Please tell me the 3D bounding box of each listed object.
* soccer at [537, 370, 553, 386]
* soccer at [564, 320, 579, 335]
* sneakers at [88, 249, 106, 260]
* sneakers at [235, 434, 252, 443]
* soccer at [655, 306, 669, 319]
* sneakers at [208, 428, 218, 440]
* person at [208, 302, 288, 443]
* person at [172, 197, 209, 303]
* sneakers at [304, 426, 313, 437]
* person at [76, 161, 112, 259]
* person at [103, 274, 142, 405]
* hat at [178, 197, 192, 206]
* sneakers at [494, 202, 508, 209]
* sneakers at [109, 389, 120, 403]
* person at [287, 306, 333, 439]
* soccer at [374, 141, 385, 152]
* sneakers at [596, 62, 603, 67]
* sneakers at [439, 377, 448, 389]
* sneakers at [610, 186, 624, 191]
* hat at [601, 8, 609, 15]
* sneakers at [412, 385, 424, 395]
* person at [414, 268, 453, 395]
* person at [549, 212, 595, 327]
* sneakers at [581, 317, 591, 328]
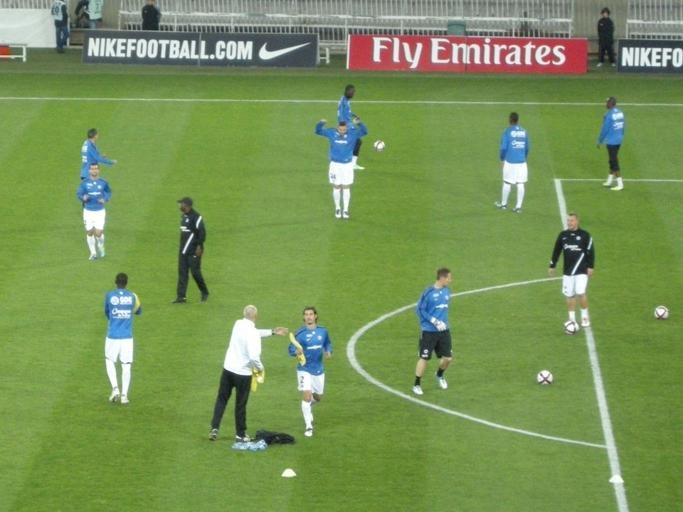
[{"bbox_3d":[4.544,2.638,27.864,0.402,0.285,0.385,-2,16,-7],"label":"soccer"},{"bbox_3d":[5.440,1.671,29.694,0.307,0.351,0.290,8,17,17],"label":"soccer"},{"bbox_3d":[-6.545,0.029,33.478,0.160,0.242,0.522,2,1,15],"label":"sneakers"},{"bbox_3d":[-2.017,3.656,25.658,0.315,0.149,0.127,-4,43,-8],"label":"sneakers"},{"bbox_3d":[7.767,1.332,30.418,0.350,0.310,0.546,5,17,18],"label":"soccer"},{"bbox_3d":[-2.644,3.626,25.826,0.138,0.102,0.234,22,3,-11],"label":"sneakers"},{"bbox_3d":[-2.067,2.308,25.841,1.332,2.804,1.186,-1,14,-4],"label":"person"},{"bbox_3d":[-3.744,-0.188,31.057,0.834,2.682,0.962,-2,14,-7],"label":"person"},{"bbox_3d":[-0.692,3.598,26.044,0.188,0.246,0.576,0,-1,-2],"label":"sneakers"},{"bbox_3d":[-6.575,-1.197,33.306,0.811,2.553,1.378,-3,15,-12],"label":"person"},{"bbox_3d":[-4.793,1.661,27.286,0.729,2.740,1.431,-3,15,-12],"label":"person"},{"bbox_3d":[-3.810,-1.261,30.405,0.283,0.251,0.529,0,16,-2],"label":"hat"},{"bbox_3d":[4.608,-1.417,36.412,0.298,0.148,0.145,21,28,15],"label":"sneakers"},{"bbox_3d":[-4.915,3.005,27.067,0.127,0.371,0.191,9,51,-19],"label":"sneakers"},{"bbox_3d":[-0.657,2.336,25.942,0.694,2.633,0.885,14,19,43],"label":"person"},{"bbox_3d":[1.178,-3.373,39.223,0.283,0.215,0.307,-1,-10,1],"label":"soccer"},{"bbox_3d":[10.469,-7.641,50.940,0.127,0.136,0.323,5,18,17],"label":"sneakers"},{"bbox_3d":[2.250,2.777,27.734,0.105,0.154,0.318,-3,14,-4],"label":"sneakers"},{"bbox_3d":[8.225,-1.968,37.427,0.129,0.167,0.383,-10,17,-38],"label":"sneakers"},{"bbox_3d":[10.567,-9.686,50.263,0.388,0.214,0.547,1,4,2],"label":"hat"},{"bbox_3d":[1.677,2.901,27.429,0.107,0.144,0.295,-4,11,-17],"label":"sneakers"},{"bbox_3d":[2.015,1.588,27.284,0.804,2.816,0.868,6,15,22],"label":"person"},{"bbox_3d":[5.510,0.304,29.903,0.928,2.785,1.398,3,15,11],"label":"person"},{"bbox_3d":[5.851,1.590,30.050,0.211,0.291,0.691,-1,2,6],"label":"sneakers"}]
